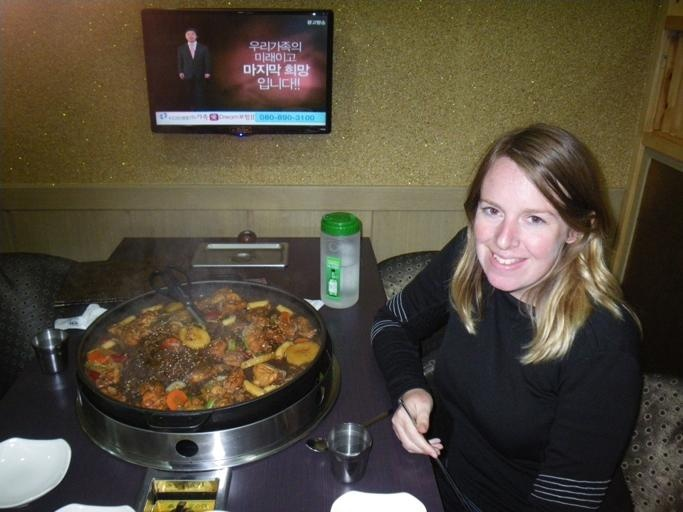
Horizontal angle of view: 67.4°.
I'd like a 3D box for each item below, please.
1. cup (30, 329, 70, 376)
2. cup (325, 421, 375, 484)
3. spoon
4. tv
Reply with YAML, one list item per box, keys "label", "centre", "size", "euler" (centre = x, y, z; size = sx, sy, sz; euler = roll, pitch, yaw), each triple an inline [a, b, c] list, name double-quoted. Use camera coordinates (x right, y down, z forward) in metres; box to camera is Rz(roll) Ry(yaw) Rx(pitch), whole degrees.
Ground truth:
- label: "cup"
  centre: [-0.813, 0.280, 1.438]
  size: [0.098, 0.108, 0.095]
  euler: [-2, 11, 0]
- label: "cup"
  centre: [0.013, 0.460, 1.213]
  size: [0.100, 0.094, 0.125]
  euler: [2, 23, 4]
- label: "spoon"
  centre: [0.044, 0.444, 1.256]
  size: [0.263, 0.041, 0.062]
  euler: [-19, 36, -13]
- label: "tv"
  centre: [-0.521, -0.935, 2.528]
  size: [0.640, 0.409, 0.050]
  euler: [0, 29, -1]
